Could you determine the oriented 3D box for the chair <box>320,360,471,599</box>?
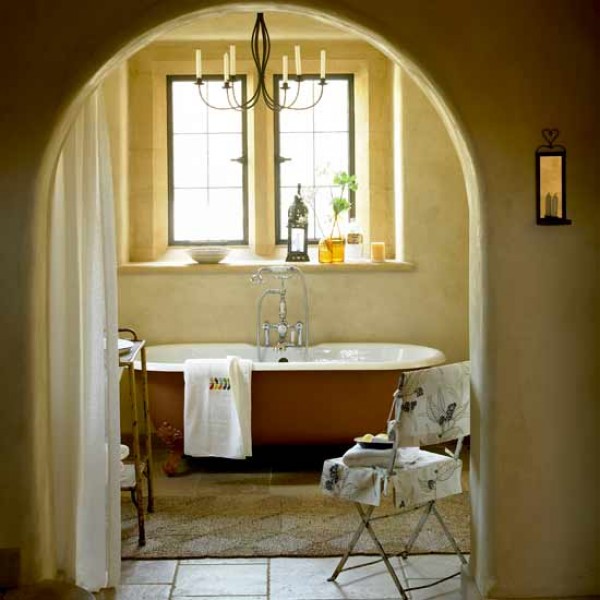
[{"bbox_3d":[0.423,0.669,3.096,0.585,0.867,0.763,1,5,19],"label":"chair"}]

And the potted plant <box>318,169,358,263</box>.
[{"bbox_3d":[0.271,-0.602,5.278,0.272,0.657,0.538,0,5,4],"label":"potted plant"}]

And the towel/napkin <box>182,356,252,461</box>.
[{"bbox_3d":[-0.450,0.599,4.062,0.418,0.767,0.097,1,1,3],"label":"towel/napkin"}]

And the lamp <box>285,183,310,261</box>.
[{"bbox_3d":[-0.019,-0.549,5.256,0.153,0.551,0.206,0,4,1],"label":"lamp"}]

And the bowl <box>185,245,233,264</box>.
[{"bbox_3d":[-0.630,-0.302,5.108,0.233,0.112,0.207,-5,7,-42],"label":"bowl"}]
